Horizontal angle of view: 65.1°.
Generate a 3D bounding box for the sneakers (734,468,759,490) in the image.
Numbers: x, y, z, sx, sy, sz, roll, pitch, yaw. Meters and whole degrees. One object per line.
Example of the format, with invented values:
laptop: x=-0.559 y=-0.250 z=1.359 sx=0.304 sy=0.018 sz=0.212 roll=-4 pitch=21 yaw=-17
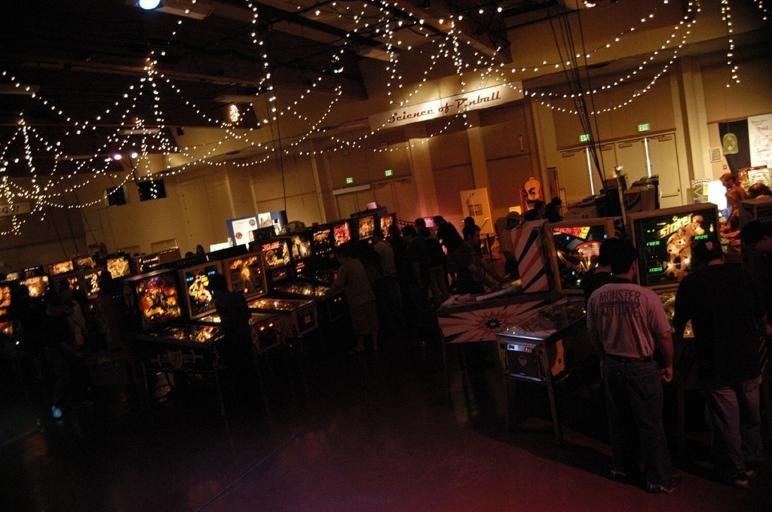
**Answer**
sneakers: x=3.767 y=2.310 z=6.247 sx=0.334 sy=0.143 sz=0.109 roll=-12 pitch=-9 yaw=-33
